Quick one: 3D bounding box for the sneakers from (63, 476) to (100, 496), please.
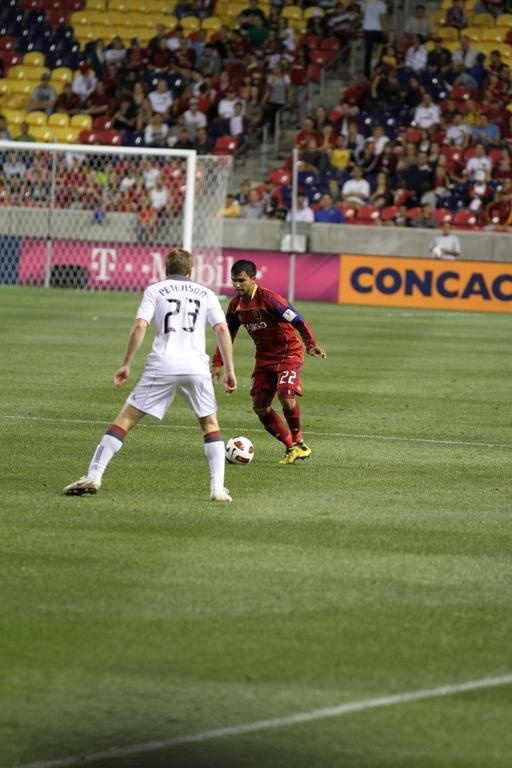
[{"bbox_3d":[-0.913,0.543,5.418,0.242,0.096,0.084,0,-3,25],"label":"sneakers"}]

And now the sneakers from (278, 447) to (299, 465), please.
[{"bbox_3d":[0.225,0.479,6.867,0.130,0.109,0.076,2,8,-11],"label":"sneakers"}]

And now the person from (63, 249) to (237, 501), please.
[{"bbox_3d":[-0.504,-0.041,5.446,0.810,1.322,0.376,3,8,-3],"label":"person"}]
